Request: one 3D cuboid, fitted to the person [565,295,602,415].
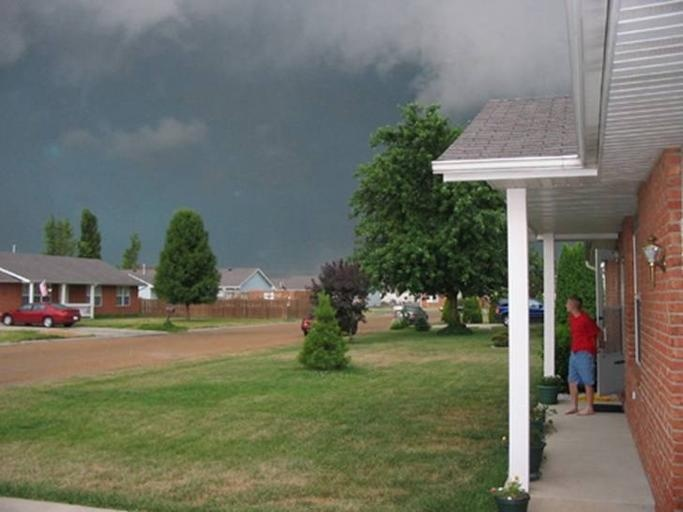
[{"bbox_3d":[4.682,1.947,13.587,0.520,2.302,0.632,0,-4,-16],"label":"person"}]

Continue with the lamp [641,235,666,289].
[{"bbox_3d":[4.239,0.068,9.455,0.244,0.652,0.590,-2,-5,21],"label":"lamp"}]

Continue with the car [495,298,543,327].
[{"bbox_3d":[9.835,3.137,39.016,2.254,1.451,8.403,-2,-5,12],"label":"car"}]
